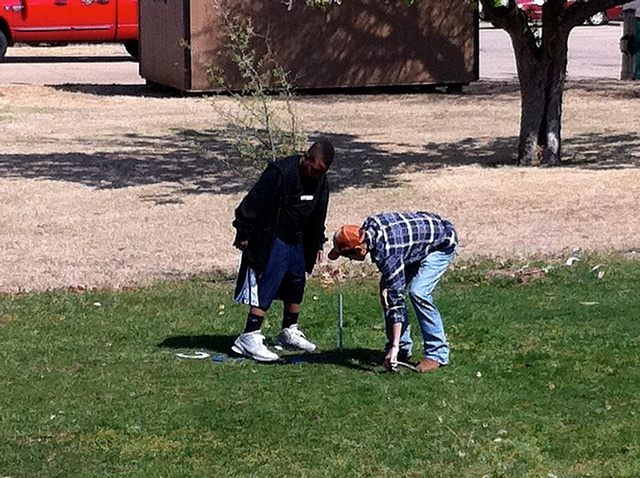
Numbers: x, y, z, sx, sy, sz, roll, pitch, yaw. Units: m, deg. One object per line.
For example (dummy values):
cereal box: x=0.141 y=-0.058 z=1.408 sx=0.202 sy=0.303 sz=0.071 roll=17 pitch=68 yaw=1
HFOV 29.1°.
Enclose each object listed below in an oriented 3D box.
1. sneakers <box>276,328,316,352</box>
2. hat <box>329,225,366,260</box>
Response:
sneakers: x=-0.314 y=1.219 z=15.120 sx=0.530 sy=0.261 sz=0.231 roll=10 pitch=20 yaw=20
hat: x=0.304 y=0.032 z=13.968 sx=0.432 sy=0.298 sz=0.267 roll=-21 pitch=-47 yaw=41
